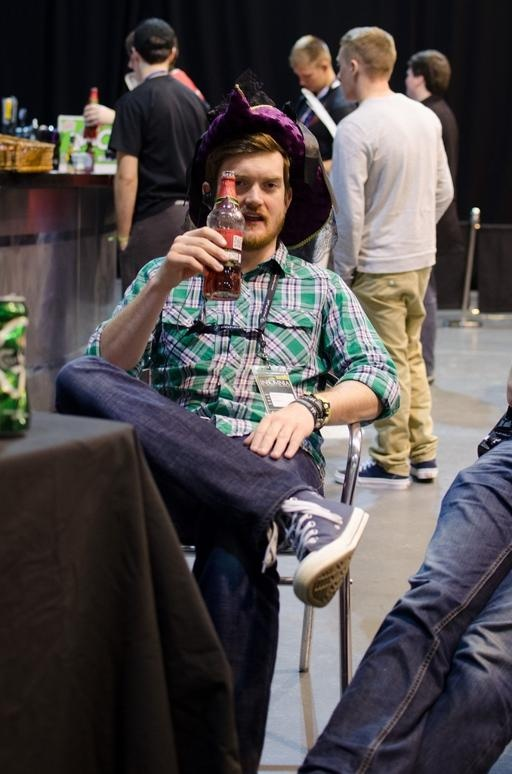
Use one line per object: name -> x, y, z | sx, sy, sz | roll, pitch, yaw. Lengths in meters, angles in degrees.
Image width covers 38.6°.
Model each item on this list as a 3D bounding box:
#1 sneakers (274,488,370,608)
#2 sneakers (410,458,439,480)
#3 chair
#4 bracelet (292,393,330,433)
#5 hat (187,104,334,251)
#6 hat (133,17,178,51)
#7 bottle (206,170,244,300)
sneakers -> 0.109, 0.235, 1.176 | 0.107, 0.083, 0.249 | 11, 13, 4
sneakers -> 0.710, 0.348, 3.071 | 0.054, 0.061, 0.144 | 0, 4, 0
chair -> 0.136, 0.370, 1.417 | 0.176, 0.248, 0.574 | -37, 10, 19
bracelet -> 0.107, 0.053, 1.364 | 0.054, 0.046, 0.066 | 0, 6, -2
hat -> 0.019, -0.496, 1.678 | 0.263, 0.235, 0.368 | 3, 45, 0
hat -> -0.464, -1.598, 3.417 | 0.163, 0.195, 0.189 | -5, 15, -2
bottle -> -0.061, -0.294, 1.420 | 0.075, 0.250, 0.271 | 3, 7, -3
